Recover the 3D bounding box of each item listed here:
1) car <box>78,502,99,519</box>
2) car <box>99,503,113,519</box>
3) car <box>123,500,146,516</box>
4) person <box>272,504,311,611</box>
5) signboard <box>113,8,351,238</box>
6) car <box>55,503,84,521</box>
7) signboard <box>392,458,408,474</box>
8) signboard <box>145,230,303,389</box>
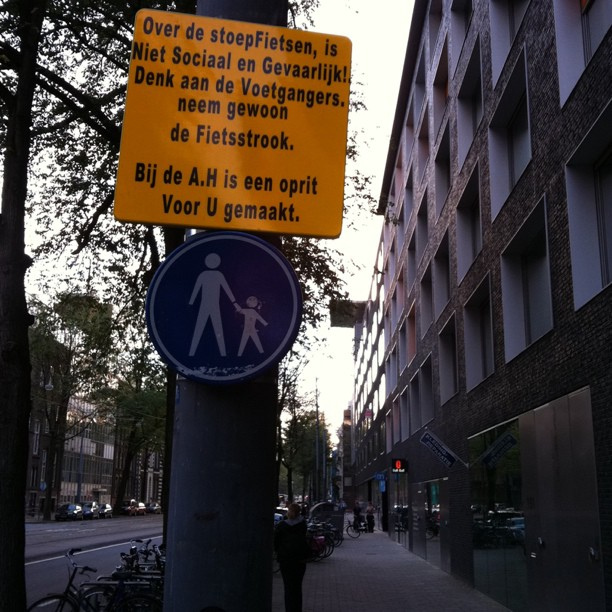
[{"bbox_3d":[-23.502,22.095,62.541,1.109,1.498,2.700,0,-33,-4],"label":"car"},{"bbox_3d":[-23.260,23.965,67.196,1.218,1.773,2.707,4,0,-21],"label":"car"},{"bbox_3d":[-22.446,26.272,75.395,1.094,1.504,2.598,-4,-30,4],"label":"car"},{"bbox_3d":[-0.236,4.250,9.760,0.561,1.718,0.875,-3,-14,15],"label":"person"},{"bbox_3d":[-0.276,-0.686,2.212,0.747,1.069,0.092,7,-18,-8],"label":"signboard"},{"bbox_3d":[-23.529,20.567,57.717,1.452,1.548,3.883,0,-18,4],"label":"car"},{"bbox_3d":[4.529,7.713,27.861,0.636,0.797,0.086,6,-29,-9],"label":"signboard"},{"bbox_3d":[-0.282,0.021,1.987,0.520,0.745,0.082,3,-47,-9],"label":"signboard"}]
